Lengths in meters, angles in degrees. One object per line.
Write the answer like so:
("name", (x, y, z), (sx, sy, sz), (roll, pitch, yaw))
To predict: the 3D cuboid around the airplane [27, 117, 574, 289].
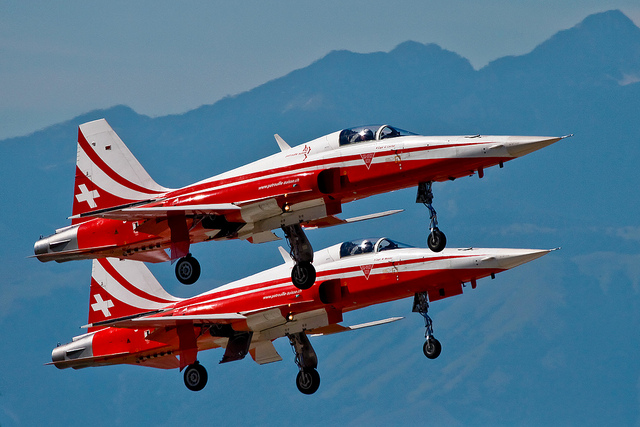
("airplane", (-3.895, -0.697, 70.562), (27.156, 10.928, 2.668), (-6, 5, 11))
